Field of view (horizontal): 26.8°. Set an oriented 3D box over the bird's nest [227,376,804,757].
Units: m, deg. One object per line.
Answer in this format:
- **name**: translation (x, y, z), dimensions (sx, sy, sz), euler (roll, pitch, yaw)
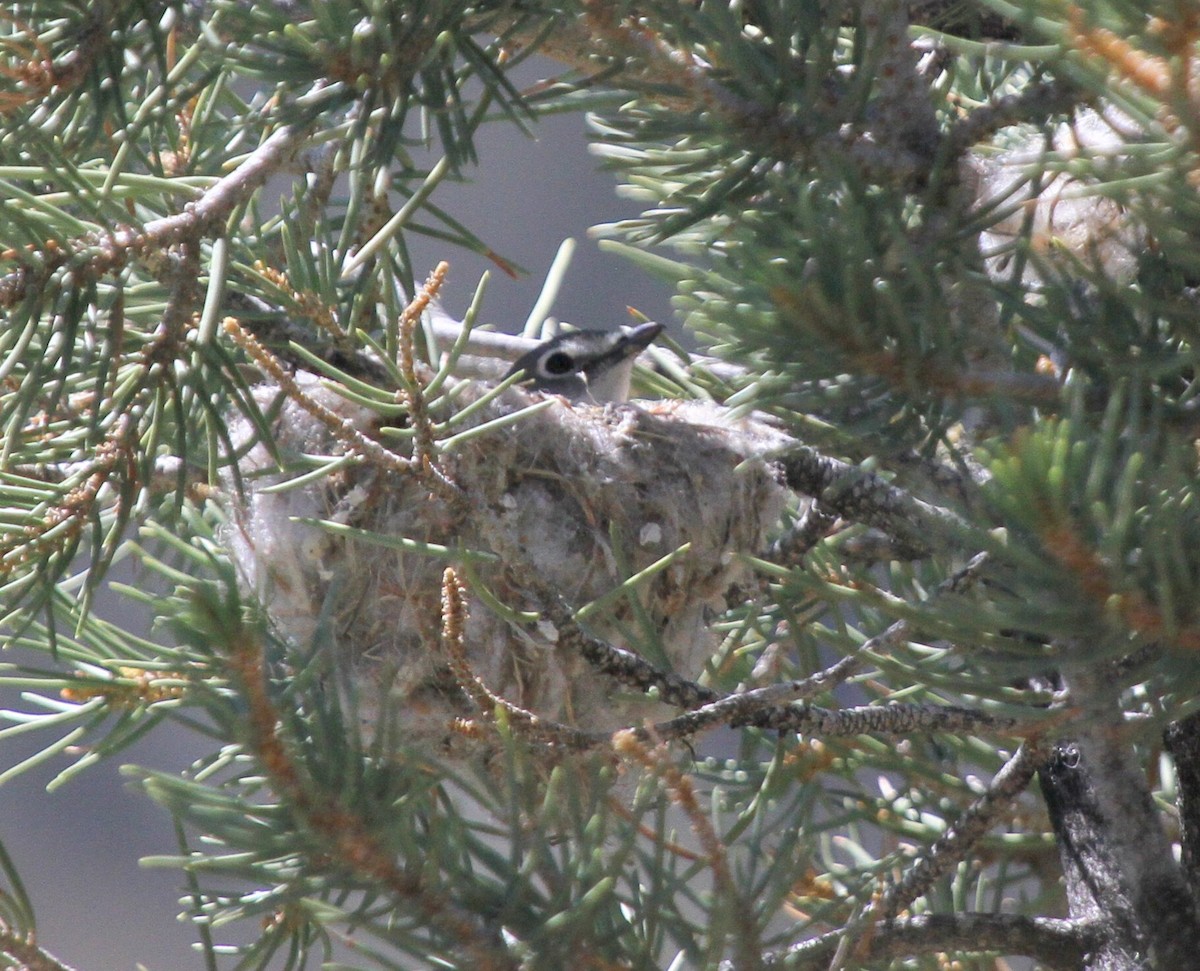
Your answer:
- **bird's nest**: translation (-0.123, 0.090, 2.970), dimensions (0.520, 0.207, 0.512), euler (-22, -44, 23)
